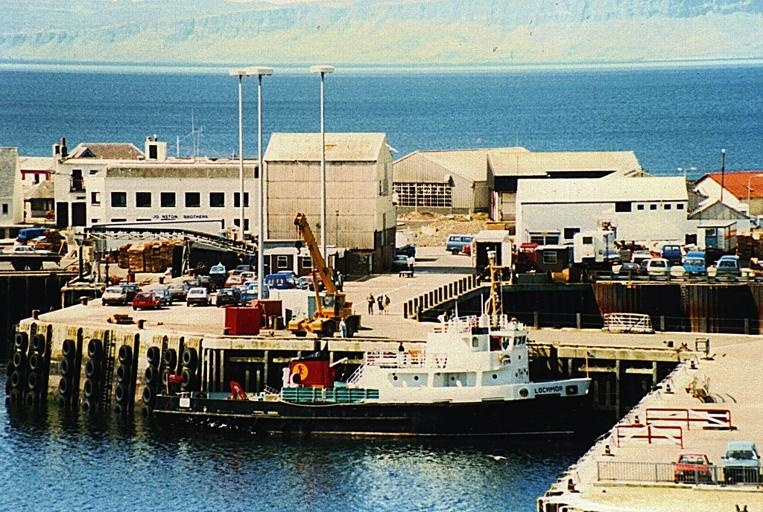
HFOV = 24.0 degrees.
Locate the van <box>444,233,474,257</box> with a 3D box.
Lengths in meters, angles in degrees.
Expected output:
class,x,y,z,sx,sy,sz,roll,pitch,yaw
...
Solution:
class,x,y,z,sx,sy,sz,roll,pitch,yaw
van,8.572,-0.935,193.650,2.800,1.444,1.699,-1,8,9
